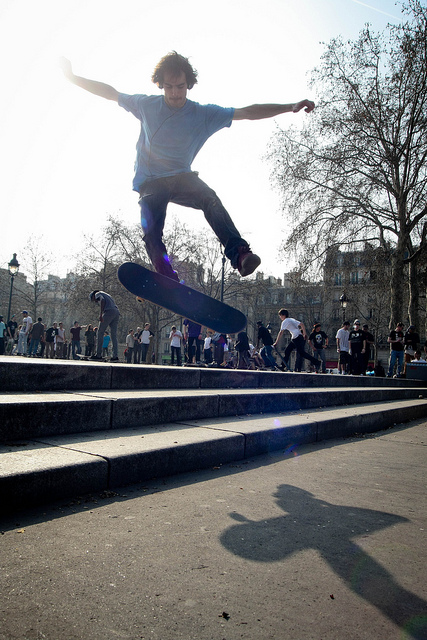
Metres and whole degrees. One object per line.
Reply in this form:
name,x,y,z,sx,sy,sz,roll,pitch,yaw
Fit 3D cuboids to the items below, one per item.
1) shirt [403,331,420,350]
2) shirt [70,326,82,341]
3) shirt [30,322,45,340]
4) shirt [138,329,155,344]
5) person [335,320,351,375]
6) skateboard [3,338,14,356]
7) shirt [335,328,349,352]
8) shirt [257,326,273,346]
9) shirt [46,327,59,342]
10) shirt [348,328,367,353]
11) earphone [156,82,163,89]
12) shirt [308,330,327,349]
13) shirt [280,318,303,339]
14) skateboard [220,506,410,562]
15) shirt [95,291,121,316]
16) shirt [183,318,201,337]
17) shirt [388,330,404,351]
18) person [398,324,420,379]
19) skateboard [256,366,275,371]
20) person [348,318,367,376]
shirt,5.959,0.664,14.760,0.399,0.442,0.766,6,-2,22
shirt,-4.957,0.488,17.449,0.299,0.539,0.684,6,-1,-18
shirt,-5.920,0.382,16.354,0.403,0.554,0.289,8,24,-27
shirt,-2.126,0.529,15.471,0.405,0.454,0.371,1,-2,-21
person,3.618,0.744,13.642,0.409,1.306,2.001,5,-2,15
skateboard,-8.109,1.061,19.210,0.223,0.862,0.143,41,30,23
shirt,3.566,0.558,13.467,0.356,0.562,0.390,6,-1,16
shirt,1.271,0.404,12.022,0.320,0.433,0.668,6,-1,-2
shirt,-5.437,0.502,16.391,0.321,0.400,0.142,22,-1,-34
shirt,3.835,0.568,13.012,0.234,0.792,0.541,-10,10,-42
earphone,-0.468,-2.021,4.243,0.023,0.059,0.077,7,-1,-34
shirt,2.741,0.537,13.012,0.448,0.428,0.329,6,-1,18
shirt,1.582,0.178,10.283,0.569,0.386,0.281,8,-2,-30
skateboard,0.364,0.838,1.970,0.831,0.036,0.333,9,-2,-39
shirt,-1.657,-0.223,7.650,0.301,0.372,0.503,6,-2,30
shirt,-0.489,0.203,10.908,0.340,0.439,0.212,-7,-8,-11
shirt,5.309,0.609,14.151,0.380,0.493,0.587,6,-1,11
person,5.921,0.983,14.845,0.472,1.337,1.137,5,-2,21
skateboard,1.231,1.187,11.822,0.155,0.096,0.636,11,-3,-14
person,3.809,0.727,13.006,0.510,1.280,1.003,5,-2,16
